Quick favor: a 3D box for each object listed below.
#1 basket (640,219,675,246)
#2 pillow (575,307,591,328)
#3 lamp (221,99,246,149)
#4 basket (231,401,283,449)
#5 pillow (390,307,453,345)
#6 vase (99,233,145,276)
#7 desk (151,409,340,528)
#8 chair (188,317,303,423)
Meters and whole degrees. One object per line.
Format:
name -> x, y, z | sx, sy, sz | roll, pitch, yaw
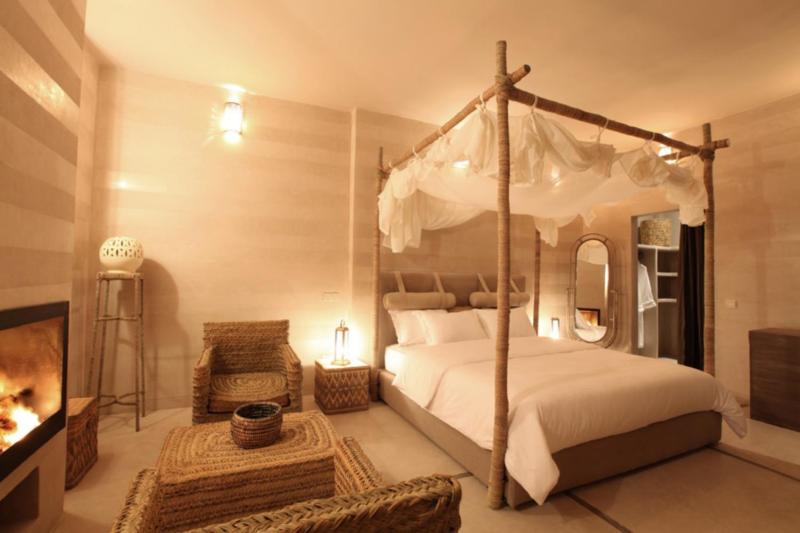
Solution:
basket -> 4.090, -0.555, 8.426 | 0.445, 0.382, 0.449 | -1, -2, 11
pillow -> 2.893, 0.845, 8.414 | 0.299, 0.268, 0.238 | 2, -8, 15
lamp -> -2.014, -1.726, 6.358 | 0.246, 0.449, 0.239 | -2, -21, -8
basket -> -1.222, 1.340, 4.542 | 0.357, 0.216, 0.354 | 1, -2, -15
pillow -> 0.234, 0.731, 6.516 | 0.516, 0.475, 0.141 | -6, -21, 1
vase -> -3.024, -0.147, 5.714 | 0.385, 0.331, 0.323 | 3, 1, -21
desk -> -1.223, 1.601, 4.197 | 1.089, 0.354, 0.763 | 1, -2, -21
chair -> -1.661, 1.205, 5.784 | 1.093, 1.038, 0.901 | 2, 10, -17
